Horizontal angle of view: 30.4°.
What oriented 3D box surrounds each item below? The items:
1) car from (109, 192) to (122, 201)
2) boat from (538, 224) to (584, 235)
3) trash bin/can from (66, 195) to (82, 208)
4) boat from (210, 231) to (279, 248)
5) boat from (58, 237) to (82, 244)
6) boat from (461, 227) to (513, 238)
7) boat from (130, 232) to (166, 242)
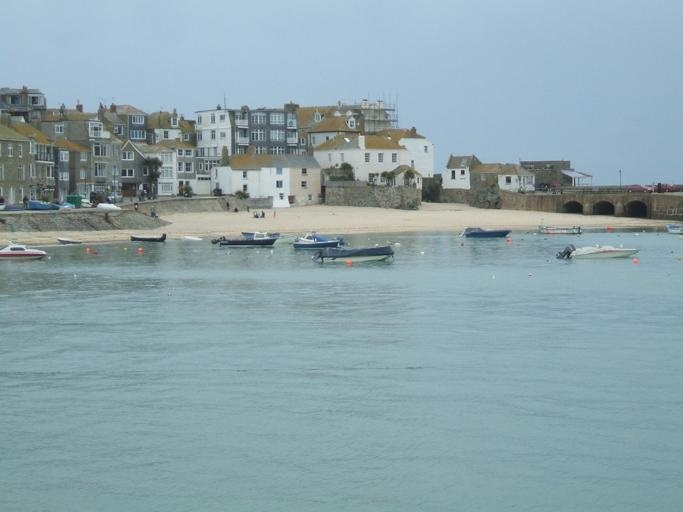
[{"bbox_3d":[-23.016,-5.853,128.109,1.646,0.810,2.456,0,7,-8],"label":"car"},{"bbox_3d":[20.378,-2.336,116.815,3.675,0.757,3.751,1,3,4],"label":"boat"},{"bbox_3d":[-23.856,-4.785,112.595,1.568,1.222,0.782,6,16,21],"label":"trash bin/can"},{"bbox_3d":[-7.675,-1.014,100.953,5.367,1.131,1.834,-2,7,-8],"label":"boat"},{"bbox_3d":[-21.505,-1.128,100.010,1.957,0.505,1.685,-1,3,-31],"label":"boat"},{"bbox_3d":[12.623,-2.004,111.457,5.023,1.098,1.349,-1,16,-2],"label":"boat"},{"bbox_3d":[-15.943,-1.432,104.577,2.474,0.662,1.050,2,1,-1],"label":"boat"}]
